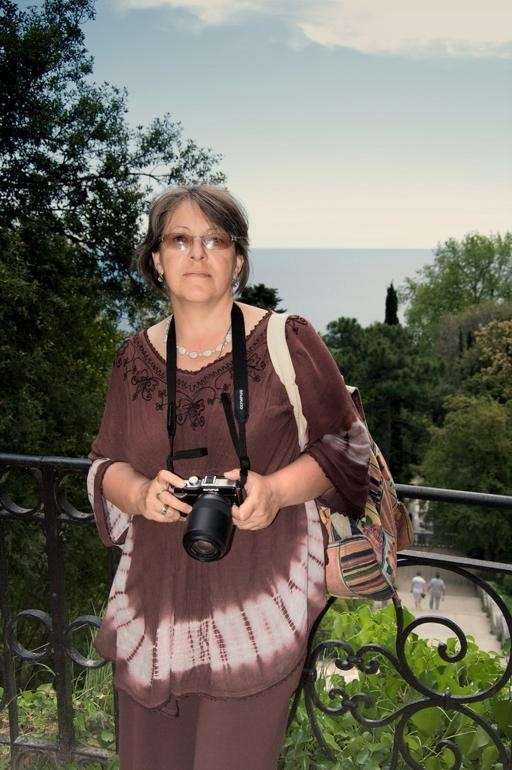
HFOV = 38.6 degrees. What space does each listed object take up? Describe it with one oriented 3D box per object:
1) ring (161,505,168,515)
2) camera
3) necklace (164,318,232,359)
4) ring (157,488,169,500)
[{"bbox_3d":[-0.208,0.284,1.650,0.021,0.020,0.015,10,36,-22],"label":"ring"},{"bbox_3d":[-0.106,0.280,1.600,0.191,0.078,0.202,-10,40,-2],"label":"camera"},{"bbox_3d":[-0.126,-0.103,1.808,0.110,0.024,0.091,-2,61,3],"label":"necklace"},{"bbox_3d":[-0.213,0.246,1.644,0.020,0.009,0.024,-4,41,18],"label":"ring"}]
